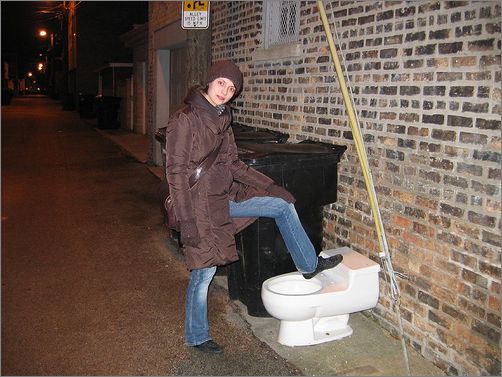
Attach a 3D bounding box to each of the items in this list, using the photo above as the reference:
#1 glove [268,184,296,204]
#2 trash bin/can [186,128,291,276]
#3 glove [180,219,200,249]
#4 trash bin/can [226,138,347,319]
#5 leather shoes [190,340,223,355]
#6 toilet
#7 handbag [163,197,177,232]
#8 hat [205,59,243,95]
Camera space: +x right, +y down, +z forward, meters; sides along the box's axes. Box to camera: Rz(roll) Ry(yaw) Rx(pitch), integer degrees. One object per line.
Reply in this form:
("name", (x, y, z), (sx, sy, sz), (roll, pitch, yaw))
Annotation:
("glove", (0.288, 0.044, 3.357), (0.261, 0.079, 0.148), (26, 49, -5))
("trash bin/can", (-0.243, -0.024, 3.283), (1.093, 1.420, 0.624), (3, -12, -31))
("glove", (-0.476, 0.362, 2.791), (0.160, 0.270, 0.115), (-5, 15, -22))
("trash bin/can", (0.365, 0.228, 4.980), (1.755, 2.320, 1.666), (-1, 10, -22))
("leather shoes", (-0.412, 1.464, 3.299), (0.283, 0.115, 0.105), (-2, -2, 20))
("toilet", (0.646, 1.031, 3.607), (1.124, 0.766, 0.703), (-4, 12, -18))
("handbag", (-0.651, 0.217, 2.898), (0.073, 0.276, 0.228), (-5, 16, -23))
("hat", (-0.182, -0.937, 3.026), (0.318, 0.257, 0.298), (3, 4, -14))
